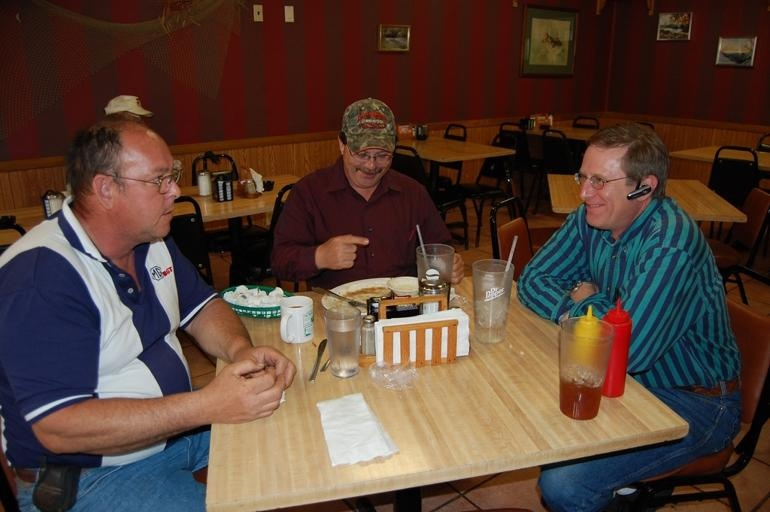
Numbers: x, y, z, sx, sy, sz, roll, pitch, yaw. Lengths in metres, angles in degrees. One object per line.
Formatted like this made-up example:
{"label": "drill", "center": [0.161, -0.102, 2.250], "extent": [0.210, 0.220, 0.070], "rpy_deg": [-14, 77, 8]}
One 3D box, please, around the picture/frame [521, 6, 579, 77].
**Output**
{"label": "picture/frame", "center": [2.445, -3.159, 8.092], "extent": [1.156, 0.970, 0.121], "rpy_deg": [-16, 22, -34]}

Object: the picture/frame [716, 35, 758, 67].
{"label": "picture/frame", "center": [4.838, -2.789, 7.426], "extent": [0.034, 0.410, 0.484], "rpy_deg": [-19, 20, -36]}

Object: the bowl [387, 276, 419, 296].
{"label": "bowl", "center": [0.067, 0.116, 2.068], "extent": [0.077, 0.024, 0.077], "rpy_deg": [-1, 27, 0]}

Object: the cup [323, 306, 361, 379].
{"label": "cup", "center": [-0.148, 0.311, 1.943], "extent": [0.162, 0.214, 0.159], "rpy_deg": [-2, 6, 0]}

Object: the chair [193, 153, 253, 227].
{"label": "chair", "center": [-1.378, -0.637, 4.453], "extent": [0.245, 0.349, 0.319], "rpy_deg": [-12, 31, -23]}

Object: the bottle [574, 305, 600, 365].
{"label": "bottle", "center": [0.639, 0.248, 1.717], "extent": [0.079, 0.153, 0.110], "rpy_deg": [3, 19, 20]}

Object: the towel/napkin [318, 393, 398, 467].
{"label": "towel/napkin", "center": [-0.094, 0.535, 1.703], "extent": [0.203, 0.079, 0.255], "rpy_deg": [-8, 18, -14]}

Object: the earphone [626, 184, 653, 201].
{"label": "earphone", "center": [1.029, -0.256, 2.195], "extent": [0.076, 0.028, 0.055], "rpy_deg": [-17, -5, 5]}

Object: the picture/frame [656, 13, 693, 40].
{"label": "picture/frame", "center": [4.267, -3.348, 7.964], "extent": [0.047, 0.415, 0.476], "rpy_deg": [-15, 15, -36]}

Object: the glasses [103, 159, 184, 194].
{"label": "glasses", "center": [-0.895, -0.277, 1.979], "extent": [0.173, 0.052, 0.167], "rpy_deg": [6, 17, 10]}

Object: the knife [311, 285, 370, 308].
{"label": "knife", "center": [-0.183, 0.170, 2.239], "extent": [0.266, 0.037, 0.014], "rpy_deg": [18, 10, 26]}

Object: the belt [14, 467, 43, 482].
{"label": "belt", "center": [-1.274, 0.768, 1.939], "extent": [0.077, 0.040, 0.094], "rpy_deg": [4, -18, -4]}

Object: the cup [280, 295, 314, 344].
{"label": "cup", "center": [-0.355, 0.259, 2.065], "extent": [0.120, 0.145, 0.193], "rpy_deg": [5, 18, 13]}

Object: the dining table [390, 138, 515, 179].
{"label": "dining table", "center": [0.747, -1.166, 6.048], "extent": [0.657, 0.234, 0.990], "rpy_deg": [-11, 21, -29]}

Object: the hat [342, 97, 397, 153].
{"label": "hat", "center": [-0.083, -0.661, 2.707], "extent": [0.267, 0.215, 0.394], "rpy_deg": [-2, 26, -10]}

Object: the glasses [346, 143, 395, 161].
{"label": "glasses", "center": [-0.080, -0.494, 2.633], "extent": [0.224, 0.083, 0.086], "rpy_deg": [-3, 18, -1]}
